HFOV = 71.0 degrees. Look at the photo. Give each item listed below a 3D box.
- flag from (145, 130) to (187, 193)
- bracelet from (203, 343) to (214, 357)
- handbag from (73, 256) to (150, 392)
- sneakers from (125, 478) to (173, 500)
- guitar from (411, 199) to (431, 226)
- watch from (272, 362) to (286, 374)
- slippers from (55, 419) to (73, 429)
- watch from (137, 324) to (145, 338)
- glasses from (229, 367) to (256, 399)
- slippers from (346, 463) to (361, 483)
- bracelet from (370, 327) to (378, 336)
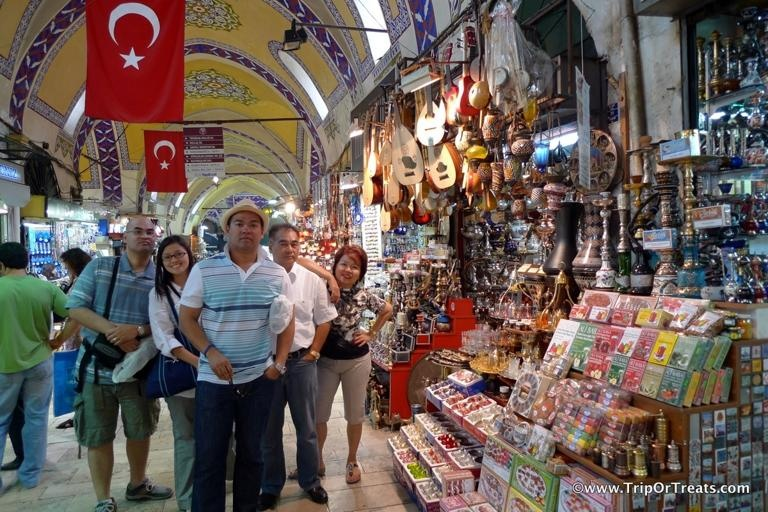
[{"bbox_3d":[-4.229,-1.855,10.465,0.748,1.277,0.482,2,0,-20],"label":"flag"},{"bbox_3d":[-1.261,0.673,3.872,0.030,0.083,0.063,35,4,-16],"label":"bracelet"},{"bbox_3d":[-2.240,0.556,4.444,0.621,1.213,0.318,2,-1,-24],"label":"handbag"},{"bbox_3d":[-2.035,2.035,4.754,0.418,0.189,0.165,3,-10,-13],"label":"sneakers"},{"bbox_3d":[0.448,-0.531,6.645,0.187,0.068,0.279,-1,-39,7],"label":"guitar"},{"bbox_3d":[-0.806,0.856,4.114,0.096,0.064,0.102,19,-22,28],"label":"watch"},{"bbox_3d":[-3.585,1.905,6.075,0.112,0.052,0.170,2,9,5],"label":"slippers"},{"bbox_3d":[-1.969,0.616,4.381,0.060,0.092,0.089,-26,8,-24],"label":"watch"},{"bbox_3d":[-1.022,0.938,3.934,0.069,0.182,0.136,-16,-8,29],"label":"glasses"},{"bbox_3d":[-0.269,1.977,4.896,0.138,0.175,0.094,2,0,-3],"label":"slippers"},{"bbox_3d":[-0.091,0.710,5.018,0.075,0.077,0.082,1,-3,3],"label":"bracelet"}]
